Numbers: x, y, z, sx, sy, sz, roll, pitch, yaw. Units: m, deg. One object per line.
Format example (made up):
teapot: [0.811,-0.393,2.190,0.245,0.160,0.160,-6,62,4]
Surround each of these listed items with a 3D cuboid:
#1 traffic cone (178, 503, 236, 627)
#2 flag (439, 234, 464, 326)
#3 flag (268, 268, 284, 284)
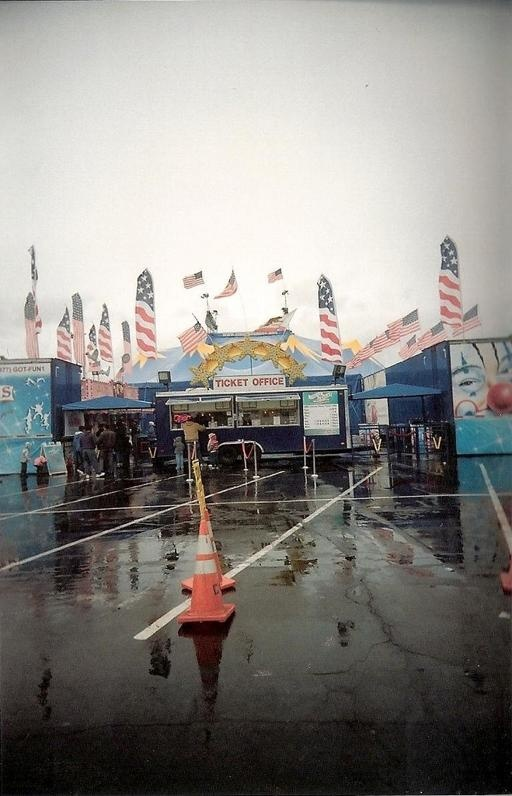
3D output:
traffic cone: [-0.465,1.475,4.631,0.472,0.938,0.459,-5,0,-1]
flag: [9.004,-5.548,25.299,0.976,4.555,2.517,-5,0,19]
flag: [1.138,-7.680,33.706,0.783,1.004,1.715,-6,0,1]
